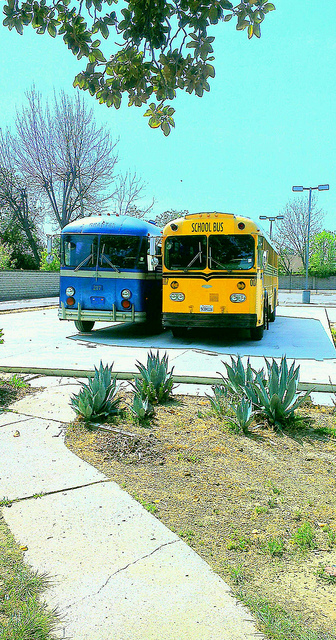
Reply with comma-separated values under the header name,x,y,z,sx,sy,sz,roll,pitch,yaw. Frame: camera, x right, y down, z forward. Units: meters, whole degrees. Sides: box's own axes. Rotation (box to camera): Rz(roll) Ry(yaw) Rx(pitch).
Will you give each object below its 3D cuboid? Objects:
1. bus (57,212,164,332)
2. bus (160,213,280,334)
name,x,y,z,sx,sy,sz,roll,pitch,yaw
bus,-1.399,-1.154,12.863,2.366,2.880,2.083,0,6,3
bus,1.861,-1.228,15.327,2.388,2.856,7.875,0,1,15
